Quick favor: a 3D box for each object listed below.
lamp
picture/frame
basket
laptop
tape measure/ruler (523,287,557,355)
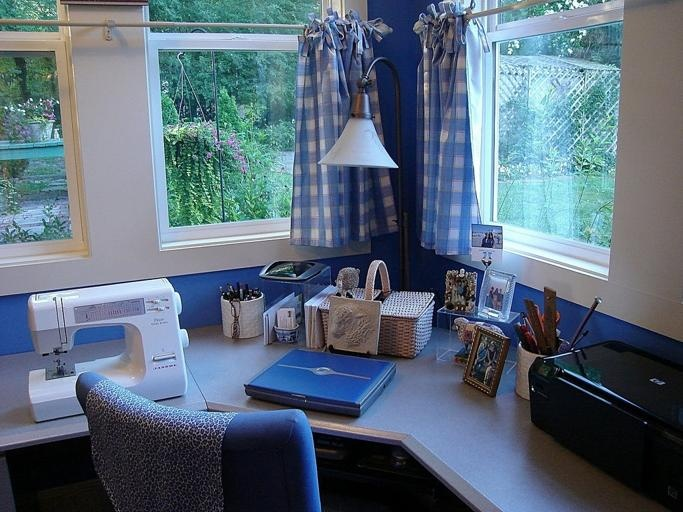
[{"bbox_3d":[0.125,-0.302,2.386,0.344,1.088,0.750,1,17,7],"label":"lamp"},{"bbox_3d":[0.521,0.244,2.000,0.225,0.429,0.334,-5,11,-24],"label":"picture/frame"},{"bbox_3d":[0.139,0.181,2.340,0.453,0.412,0.332,3,12,24],"label":"basket"},{"bbox_3d":[-0.068,0.453,1.914,0.558,0.066,0.527,4,10,26],"label":"laptop"},{"bbox_3d":[0.691,0.227,1.881,0.057,0.230,0.121,4,15,-4],"label":"tape measure/ruler"}]
